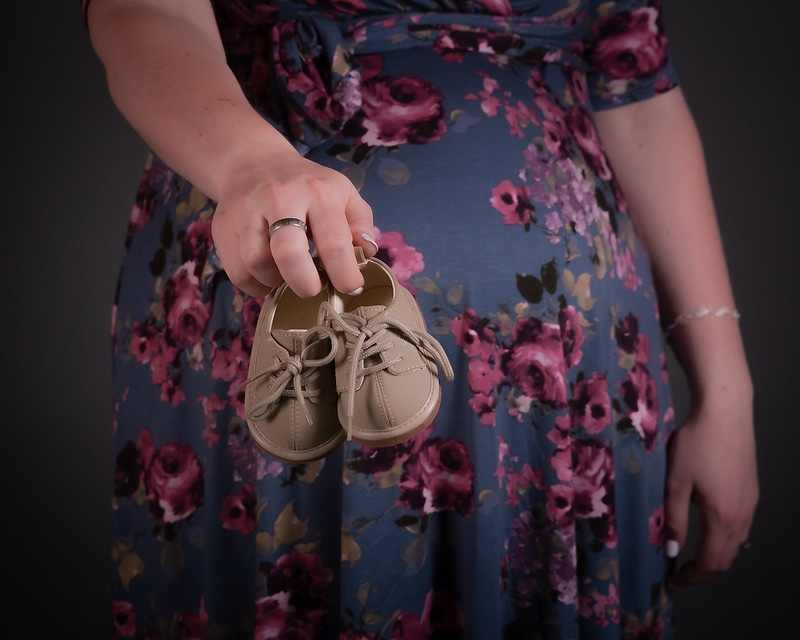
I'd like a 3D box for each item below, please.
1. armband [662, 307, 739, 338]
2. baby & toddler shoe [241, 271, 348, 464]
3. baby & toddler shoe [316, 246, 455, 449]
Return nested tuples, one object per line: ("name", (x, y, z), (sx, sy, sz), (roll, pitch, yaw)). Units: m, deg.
("armband", (0.518, 0.006, 1.278), (0.111, 0.031, 0.048), (-12, -18, 10))
("baby & toddler shoe", (-0.147, 0.058, 1.031), (0.136, 0.269, 0.115), (2, -34, -5))
("baby & toddler shoe", (-0.031, 0.041, 1.049), (0.166, 0.112, 0.305), (-18, 39, 1))
